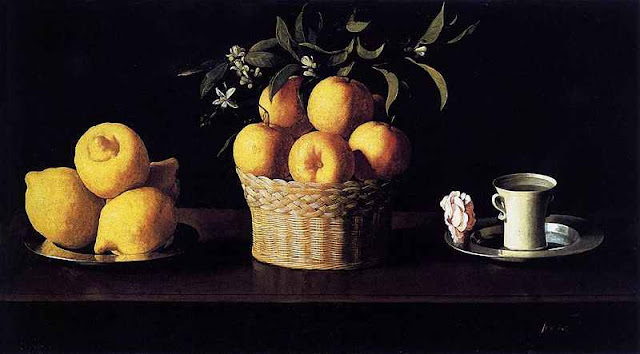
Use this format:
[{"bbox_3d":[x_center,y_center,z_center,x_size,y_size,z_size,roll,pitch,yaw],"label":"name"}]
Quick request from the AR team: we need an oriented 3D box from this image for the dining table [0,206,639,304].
[{"bbox_3d":[0.022,0.228,1.764,2.011,0.296,0.408,3,4,0],"label":"dining table"}]

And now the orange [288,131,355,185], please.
[{"bbox_3d":[0.007,-0.056,1.685,0.177,0.141,0.154,6,4,16],"label":"orange"}]

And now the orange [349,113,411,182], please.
[{"bbox_3d":[0.164,-0.061,1.695,0.193,0.161,0.189,17,-3,16],"label":"orange"}]

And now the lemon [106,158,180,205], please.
[{"bbox_3d":[-0.550,0.003,1.832,0.169,0.088,0.173,-15,-6,29],"label":"lemon"}]

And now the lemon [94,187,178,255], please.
[{"bbox_3d":[-0.500,0.129,1.750,0.238,0.157,0.144,-32,-5,-8],"label":"lemon"}]

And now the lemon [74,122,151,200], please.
[{"bbox_3d":[-0.619,-0.059,1.776,0.254,0.208,0.222,-6,-8,-28],"label":"lemon"}]

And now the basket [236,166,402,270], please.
[{"bbox_3d":[-0.031,0.110,1.592,0.340,0.139,0.370,1,4,33],"label":"basket"}]

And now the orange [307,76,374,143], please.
[{"bbox_3d":[0.062,-0.216,1.723,0.210,0.169,0.189,2,37,-1],"label":"orange"}]
